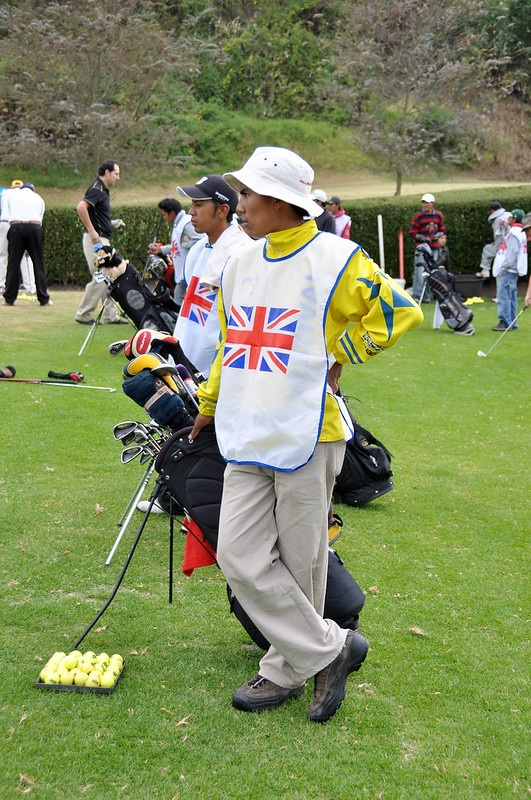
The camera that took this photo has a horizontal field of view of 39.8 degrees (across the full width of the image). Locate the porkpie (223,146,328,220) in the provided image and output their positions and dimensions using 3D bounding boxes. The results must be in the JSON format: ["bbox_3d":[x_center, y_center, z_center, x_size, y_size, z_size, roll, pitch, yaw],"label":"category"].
[{"bbox_3d":[0.053,-0.792,2.623,0.318,0.264,0.256,5,11,6],"label":"porkpie"}]

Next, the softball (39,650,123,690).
[{"bbox_3d":[-0.710,1.036,2.825,0.292,0.078,0.188,4,10,2],"label":"softball"}]
